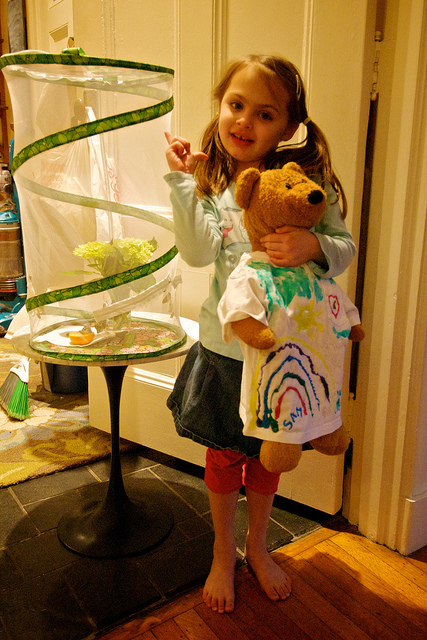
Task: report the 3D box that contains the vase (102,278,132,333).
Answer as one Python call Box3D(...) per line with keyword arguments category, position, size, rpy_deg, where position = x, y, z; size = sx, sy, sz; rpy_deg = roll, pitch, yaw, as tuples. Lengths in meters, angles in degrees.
Box3D(category="vase", position=(-0.175, -0.019, 0.923), size=(0.059, 0.131, 0.051), rpy_deg=(-5, -19, 7))

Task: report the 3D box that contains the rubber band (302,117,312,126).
Box3D(category="rubber band", position=(0.160, -0.338, 0.847), size=(0.007, 0.011, 0.011), rpy_deg=(14, 32, -22))

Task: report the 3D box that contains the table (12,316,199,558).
Box3D(category="table", position=(-0.238, 0.265, 1.252), size=(0.381, 0.583, 0.389), rpy_deg=(-2, 12, -10))

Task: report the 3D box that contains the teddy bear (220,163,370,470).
Box3D(category="teddy bear", position=(0.118, -0.009, 0.750), size=(0.147, 0.438, 0.253), rpy_deg=(7, 11, 35))

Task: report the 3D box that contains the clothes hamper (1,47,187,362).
Box3D(category="clothes hamper", position=(-0.203, -0.202, 0.926), size=(0.331, 0.516, 0.232), rpy_deg=(-2, 10, -18))

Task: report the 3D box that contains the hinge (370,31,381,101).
Box3D(category="hinge", position=(0.339, -0.528, 1.037), size=(0.015, 0.126, 0.023), rpy_deg=(3, 10, 17))

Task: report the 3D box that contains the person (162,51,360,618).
Box3D(category="person", position=(0.061, 0.044, 0.941), size=(0.323, 0.996, 0.263), rpy_deg=(-2, 7, -16))

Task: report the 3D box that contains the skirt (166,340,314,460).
Box3D(category="skirt", position=(0.018, 0.117, 1.045), size=(0.255, 0.240, 0.351), rpy_deg=(7, 19, 22))
